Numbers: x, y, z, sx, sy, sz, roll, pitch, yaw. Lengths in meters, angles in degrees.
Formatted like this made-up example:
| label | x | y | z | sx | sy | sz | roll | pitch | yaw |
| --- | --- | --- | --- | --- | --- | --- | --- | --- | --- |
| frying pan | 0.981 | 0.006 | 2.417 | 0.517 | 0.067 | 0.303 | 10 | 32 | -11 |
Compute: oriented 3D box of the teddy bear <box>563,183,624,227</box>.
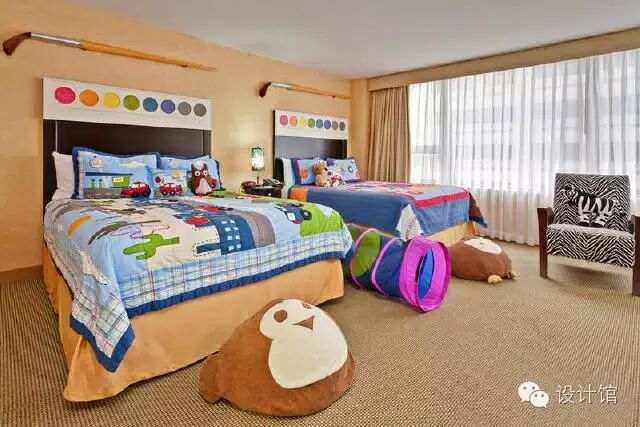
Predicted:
| label | x | y | z | sx | sy | sz | roll | pitch | yaw |
| --- | --- | --- | --- | --- | --- | --- | --- | --- | --- |
| teddy bear | 3.210 | -0.091 | 4.499 | 0.676 | 0.453 | 0.239 | 9 | 15 | 22 |

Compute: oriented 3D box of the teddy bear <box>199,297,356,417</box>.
| label | x | y | z | sx | sy | sz | roll | pitch | yaw |
| --- | --- | --- | --- | --- | --- | --- | --- | --- | --- |
| teddy bear | -0.287 | 0.983 | 3.136 | 1.194 | 0.502 | 1.323 | 1 | 22 | 17 |

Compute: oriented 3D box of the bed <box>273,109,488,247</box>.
| label | x | y | z | sx | sy | sz | roll | pitch | yaw |
| --- | --- | --- | --- | --- | --- | --- | --- | --- | --- |
| bed | 0.770 | -0.493 | 5.850 | 2.758 | 1.889 | 2.267 | 3 | 6 | 42 |

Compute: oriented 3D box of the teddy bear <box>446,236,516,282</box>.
| label | x | y | z | sx | sy | sz | roll | pitch | yaw |
| --- | --- | --- | --- | --- | --- | --- | --- | --- | --- |
| teddy bear | 1.908 | 0.510 | 4.612 | 0.789 | 0.276 | 0.812 | -21 | 22 | -32 |
